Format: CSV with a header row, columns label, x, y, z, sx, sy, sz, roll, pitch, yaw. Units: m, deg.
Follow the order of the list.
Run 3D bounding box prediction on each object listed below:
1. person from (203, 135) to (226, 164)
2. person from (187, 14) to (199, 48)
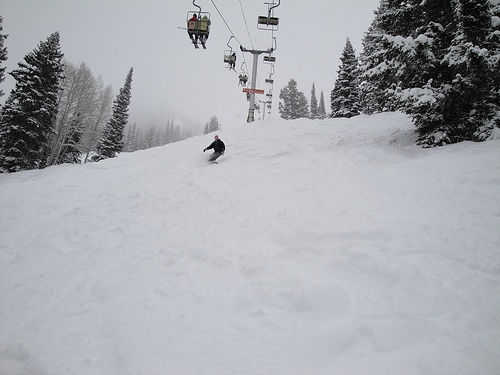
label,x,y,z,sx,sy,sz,roll,pitch,yaw
person,-1.774,-2.034,20.863,0.774,1.433,1.352,3,5,8
person,-2.764,-7.558,19.334,0.527,1.606,0.950,2,4,-8
